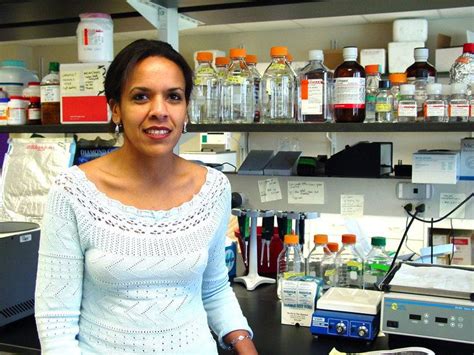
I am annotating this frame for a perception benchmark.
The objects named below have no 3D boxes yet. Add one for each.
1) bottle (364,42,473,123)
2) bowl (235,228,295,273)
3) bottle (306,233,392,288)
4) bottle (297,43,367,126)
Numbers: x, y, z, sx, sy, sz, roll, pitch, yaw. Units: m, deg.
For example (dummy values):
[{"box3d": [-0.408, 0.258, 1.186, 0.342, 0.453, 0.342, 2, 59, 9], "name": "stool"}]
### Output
[{"box3d": [0.759, -0.381, 1.722, 0.367, 0.317, 0.223, 2, 5, 17], "name": "bottle"}, {"box3d": [0.141, 0.428, 2.376, 0.343, 0.208, 0.336, -1, -13, 0], "name": "bowl"}, {"box3d": [0.521, 0.395, 1.982, 0.295, 0.254, 0.115, 0, -5, 11], "name": "bottle"}, {"box3d": [0.377, -0.366, 1.713, 0.273, 0.299, 0.163, 2, 5, 15], "name": "bottle"}]
